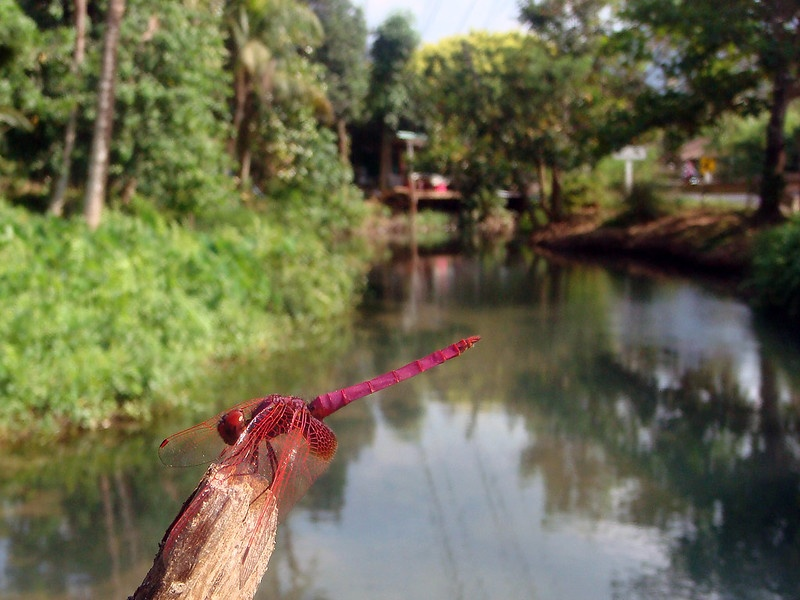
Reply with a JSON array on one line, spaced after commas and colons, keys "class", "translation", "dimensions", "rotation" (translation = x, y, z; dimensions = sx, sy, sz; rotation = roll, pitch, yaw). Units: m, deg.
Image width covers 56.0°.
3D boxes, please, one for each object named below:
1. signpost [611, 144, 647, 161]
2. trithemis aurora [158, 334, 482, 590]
[{"class": "signpost", "translation": [1.530, -0.975, 5.022], "dimensions": [0.225, 0.093, 0.075], "rotation": [2, 1, -12]}, {"class": "trithemis aurora", "translation": [-0.418, 0.481, 3.390], "dimensions": [1.261, 0.938, 0.412], "rotation": [-29, 22, 3]}]
